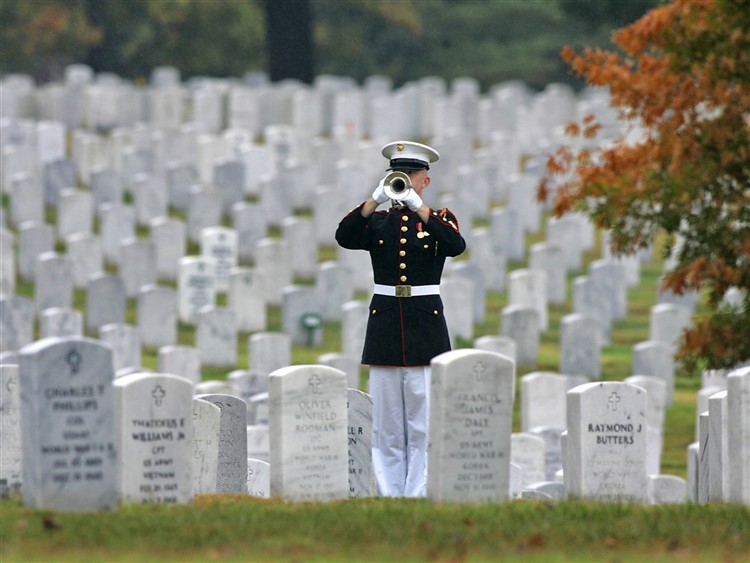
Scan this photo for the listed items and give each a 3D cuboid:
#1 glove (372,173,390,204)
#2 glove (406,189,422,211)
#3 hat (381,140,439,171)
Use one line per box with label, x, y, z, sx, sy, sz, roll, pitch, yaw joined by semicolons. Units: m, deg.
glove;0.016;-1.075;32.681;0.230;0.266;0.252;0;-1;18
glove;0.407;-0.969;32.601;0.219;0.212;0.185;-15;-21;36
hat;0.377;-1.458;32.877;0.591;0.321;0.359;0;0;-1
